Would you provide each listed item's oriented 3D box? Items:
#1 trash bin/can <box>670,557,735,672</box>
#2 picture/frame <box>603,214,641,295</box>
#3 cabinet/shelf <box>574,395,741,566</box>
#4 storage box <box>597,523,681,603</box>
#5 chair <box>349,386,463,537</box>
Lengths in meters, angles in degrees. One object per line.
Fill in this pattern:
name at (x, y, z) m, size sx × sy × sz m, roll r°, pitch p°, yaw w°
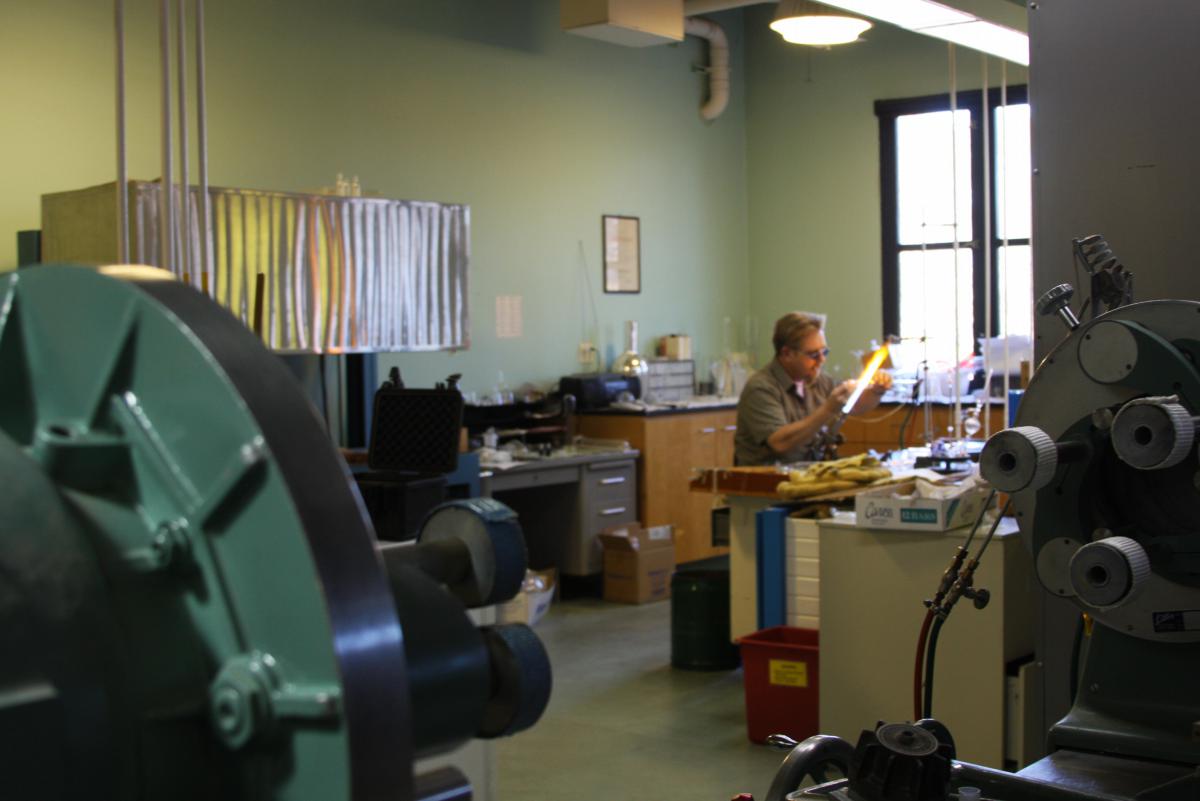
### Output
trash bin/can at (0.535, 1.093, 5.076) m, size 0.354 × 0.458 × 0.382 m, roll -1°, pitch -3°, yaw -6°
picture/frame at (0.165, -1.107, 7.669) m, size 0.402 × 0.597 × 0.037 m, roll -7°, pitch 8°, yaw -44°
cabinet/shelf at (0.532, 0.554, 7.203) m, size 0.424 × 1.025 × 1.031 m, roll 1°, pitch 3°, yaw 42°
storage box at (0.240, 0.993, 6.348) m, size 0.443 × 0.339 × 0.413 m, roll 2°, pitch -6°, yaw -41°
chair at (-0.664, 0.191, 3.513) m, size 0.358 × 0.575 × 0.703 m, roll -3°, pitch 4°, yaw -13°
